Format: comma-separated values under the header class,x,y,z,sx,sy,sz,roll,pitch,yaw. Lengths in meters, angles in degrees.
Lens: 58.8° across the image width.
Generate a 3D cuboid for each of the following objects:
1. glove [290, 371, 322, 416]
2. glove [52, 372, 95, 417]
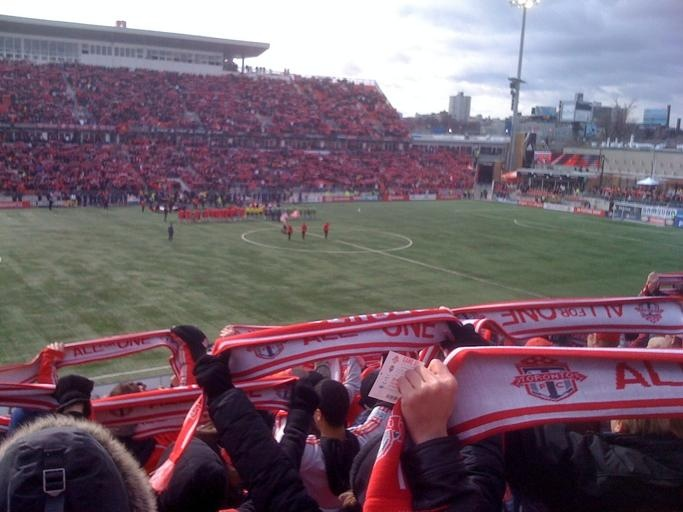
class,x,y,z,sx,sy,sz,roll,pitch,yaw
glove,-0.274,1.129,5.088,0.228,0.338,0.330,5,-10,33
glove,-2.616,1.430,5.893,0.343,0.450,0.168,11,22,-29
